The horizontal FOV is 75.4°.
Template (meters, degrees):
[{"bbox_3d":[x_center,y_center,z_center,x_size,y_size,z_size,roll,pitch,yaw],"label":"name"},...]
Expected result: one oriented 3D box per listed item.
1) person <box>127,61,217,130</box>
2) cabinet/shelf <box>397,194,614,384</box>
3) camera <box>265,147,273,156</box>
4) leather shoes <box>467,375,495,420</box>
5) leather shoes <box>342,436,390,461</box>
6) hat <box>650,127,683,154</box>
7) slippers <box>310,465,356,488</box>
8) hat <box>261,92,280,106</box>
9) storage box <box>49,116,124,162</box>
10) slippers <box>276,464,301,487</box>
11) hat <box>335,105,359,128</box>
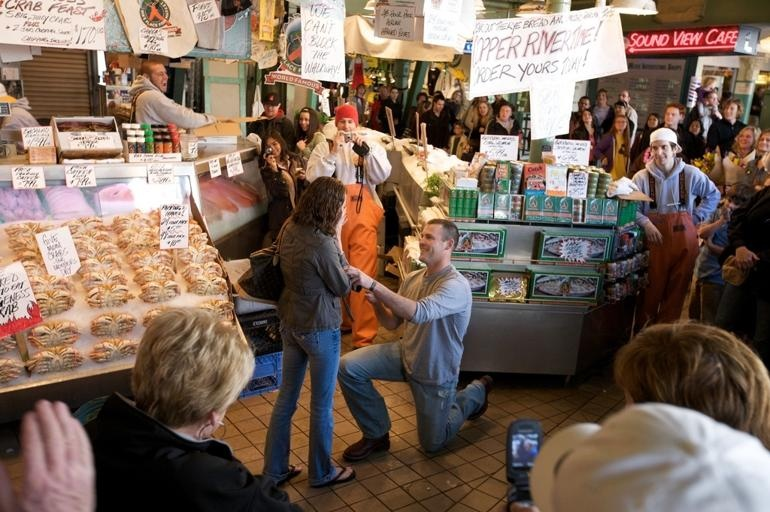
[{"bbox_3d":[-2.202,-1.384,5.039,0.746,1.012,0.525,4,24,-12],"label":"person"},{"bbox_3d":[1.209,0.253,5.261,2.278,1.535,1.612,-1,10,-8],"label":"cabinet/shelf"},{"bbox_3d":[-1.320,-1.174,5.620,0.086,0.068,0.090,0,59,-8],"label":"camera"},{"bbox_3d":[0.846,1.189,4.246,0.169,0.164,0.414,-6,42,44],"label":"leather shoes"},{"bbox_3d":[-0.148,1.437,3.766,0.326,0.143,0.150,-3,7,-25],"label":"leather shoes"},{"bbox_3d":[2.942,-1.243,5.218,0.349,0.241,0.491,-2,1,36],"label":"hat"},{"bbox_3d":[-0.349,1.525,3.466,0.216,0.053,0.121,-5,10,-26],"label":"slippers"},{"bbox_3d":[-1.655,-2.245,7.199,0.211,0.147,0.283,6,4,2],"label":"hat"},{"bbox_3d":[-2.202,-0.866,3.677,0.427,0.299,0.491,-12,21,-28],"label":"storage box"},{"bbox_3d":[-0.666,1.503,3.443,0.078,0.044,0.193,18,21,20],"label":"slippers"},{"bbox_3d":[-0.414,-1.509,5.347,0.209,0.226,0.268,0,46,-4],"label":"hat"}]
